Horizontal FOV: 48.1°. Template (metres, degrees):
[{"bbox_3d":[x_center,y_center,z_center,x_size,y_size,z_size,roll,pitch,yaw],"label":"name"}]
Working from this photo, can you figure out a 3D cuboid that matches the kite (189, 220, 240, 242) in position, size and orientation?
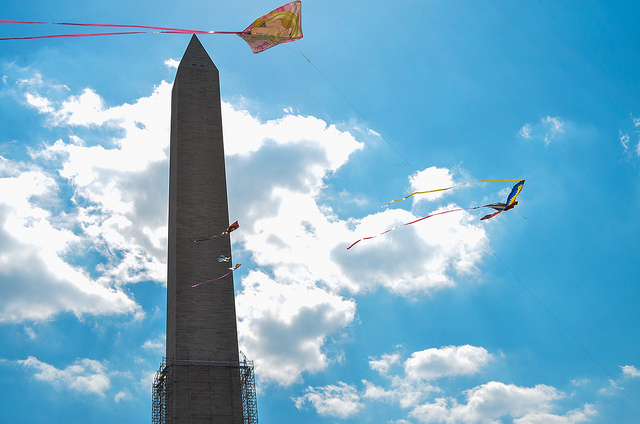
[{"bbox_3d":[-9.909,1.712,64.025,5.531,0.759,1.256,-16,-22,19],"label":"kite"}]
